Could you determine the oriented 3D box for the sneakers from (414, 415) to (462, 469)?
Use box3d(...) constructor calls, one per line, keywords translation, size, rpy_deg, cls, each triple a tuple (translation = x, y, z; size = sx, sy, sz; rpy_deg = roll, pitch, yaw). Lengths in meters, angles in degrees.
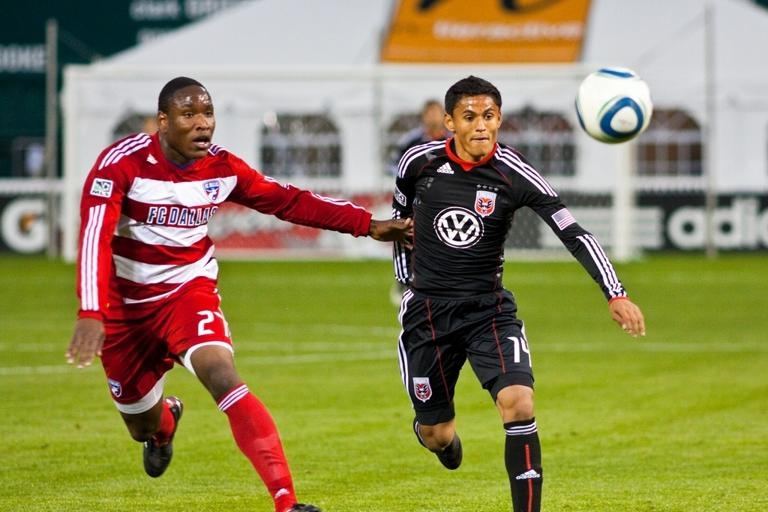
box3d(translation=(0.418, 1.911, 15.709), size=(0.505, 0.256, 0.271), rpy_deg=(2, 48, 0), cls="sneakers")
